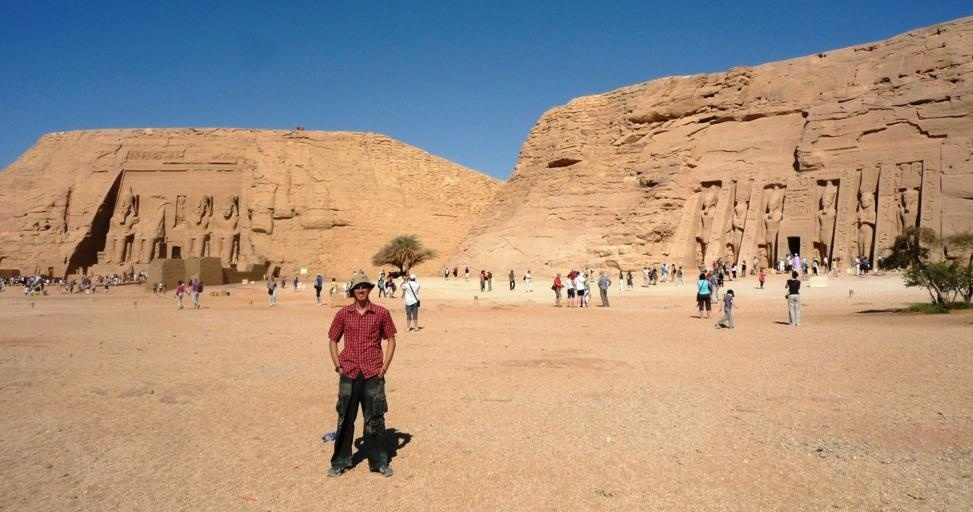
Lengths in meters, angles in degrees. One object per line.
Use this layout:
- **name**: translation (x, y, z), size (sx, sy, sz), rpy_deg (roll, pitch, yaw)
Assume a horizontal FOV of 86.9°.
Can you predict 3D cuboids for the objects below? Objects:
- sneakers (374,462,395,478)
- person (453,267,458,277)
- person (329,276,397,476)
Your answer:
- **sneakers**: translation (-1.739, 3.601, 8.656), size (0.415, 0.139, 0.182), rpy_deg (-2, 3, 18)
- **person**: translation (-2.418, 1.193, 39.169), size (0.381, 0.813, 0.951), rpy_deg (2, -8, 5)
- **person**: translation (-2.125, 2.029, 8.736), size (1.167, 3.305, 0.681), rpy_deg (4, -9, -8)
